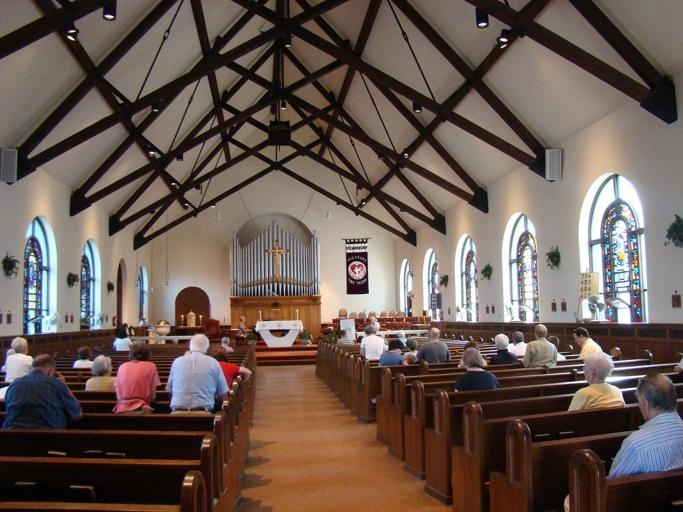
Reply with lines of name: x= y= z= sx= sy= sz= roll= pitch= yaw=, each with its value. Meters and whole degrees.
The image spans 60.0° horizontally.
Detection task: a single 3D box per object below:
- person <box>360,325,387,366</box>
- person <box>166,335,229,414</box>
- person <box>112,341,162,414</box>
person: x=0.510 y=1.478 z=10.076 sx=0.395 sy=0.992 sz=0.500 roll=-2 pitch=12 yaw=-6
person: x=-1.578 y=1.520 z=6.431 sx=0.535 sy=1.298 sz=0.648 roll=3 pitch=-12 yaw=-10
person: x=-2.222 y=1.493 z=6.397 sx=0.383 sy=1.037 sz=0.585 roll=2 pitch=-22 yaw=-12
